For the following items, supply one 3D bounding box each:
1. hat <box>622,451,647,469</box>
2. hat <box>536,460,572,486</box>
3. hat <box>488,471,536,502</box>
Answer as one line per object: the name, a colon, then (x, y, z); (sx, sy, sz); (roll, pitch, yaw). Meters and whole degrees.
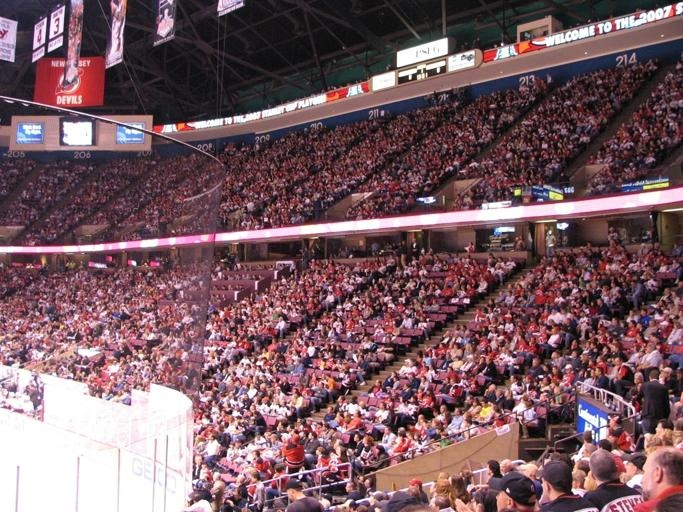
hat: (3.955, 2.749, 10.770); (0.281, 0.214, 0.735); (-13, -5, 18)
hat: (2.332, 2.374, 8.796); (0.205, 0.195, 0.317); (-7, 14, -8)
hat: (1.871, 2.618, 8.895); (0.303, 0.209, 0.483); (1, 4, -32)
